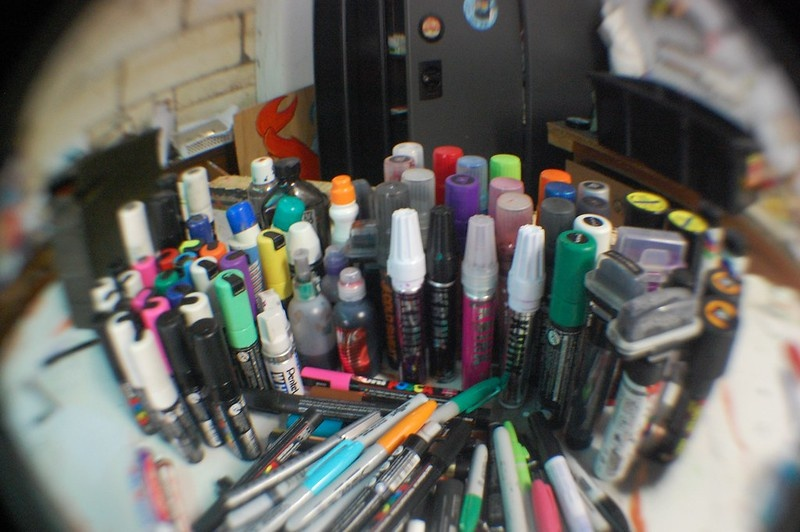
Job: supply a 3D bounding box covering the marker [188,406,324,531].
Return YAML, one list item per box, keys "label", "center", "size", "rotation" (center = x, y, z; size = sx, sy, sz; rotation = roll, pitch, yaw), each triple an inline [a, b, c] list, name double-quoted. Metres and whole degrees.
- label: "marker"
  center: [-0.146, 0.218, 0.678]
  size: [0.034, 0.039, 0.204]
  rotation: [-10, 20, 42]
